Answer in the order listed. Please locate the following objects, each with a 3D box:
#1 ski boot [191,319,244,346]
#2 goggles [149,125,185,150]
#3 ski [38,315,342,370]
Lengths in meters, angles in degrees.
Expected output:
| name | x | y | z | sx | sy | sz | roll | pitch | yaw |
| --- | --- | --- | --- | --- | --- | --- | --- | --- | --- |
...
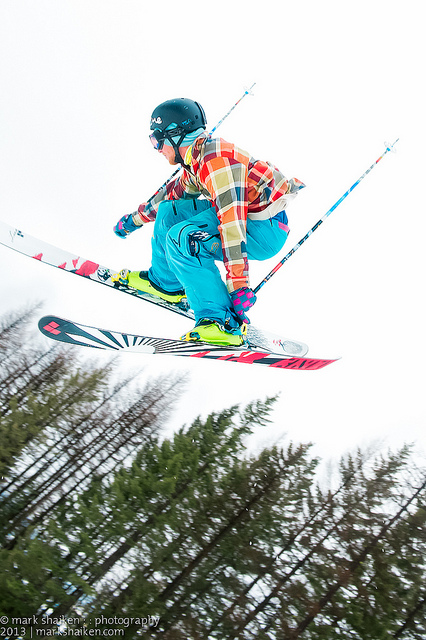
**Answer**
| name | x | y | z | sx | sy | sz | roll | pitch | yaw |
| --- | --- | --- | --- | --- | --- | --- | --- | --- | --- |
| ski boot | 0.024 | 0.132 | 5.407 | 0.535 | 0.168 | 0.207 | 12 | -64 | -10 |
| goggles | -0.430 | -1.715 | 5.470 | 0.249 | 0.176 | 0.116 | -11 | -73 | 28 |
| ski | -0.175 | 0.200 | 5.150 | 2.360 | 0.248 | 0.161 | 9 | -60 | -4 |
